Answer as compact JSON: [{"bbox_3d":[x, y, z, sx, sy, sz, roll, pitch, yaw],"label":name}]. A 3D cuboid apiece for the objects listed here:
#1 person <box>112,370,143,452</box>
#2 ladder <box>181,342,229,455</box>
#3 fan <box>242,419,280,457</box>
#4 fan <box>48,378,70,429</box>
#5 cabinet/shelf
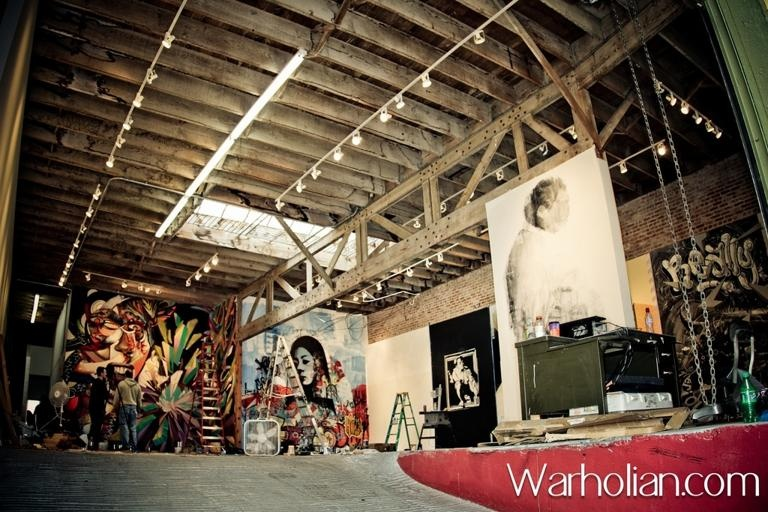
[{"bbox_3d":[-5.688,3.453,12.701,0.534,1.564,0.776,8,-22,-23],"label":"person"},{"bbox_3d":[-4.706,3.584,15.547,1.035,3.196,2.003,5,-21,-17],"label":"ladder"},{"bbox_3d":[-2.712,3.914,12.692,0.686,0.826,2.363,4,-21,-13],"label":"fan"},{"bbox_3d":[-7.854,3.611,13.946,0.471,1.305,0.426,3,6,4],"label":"fan"},{"bbox_3d":[2.610,1.426,7.225,1.718,1.097,1.247,7,-22,-32],"label":"cabinet/shelf"}]
